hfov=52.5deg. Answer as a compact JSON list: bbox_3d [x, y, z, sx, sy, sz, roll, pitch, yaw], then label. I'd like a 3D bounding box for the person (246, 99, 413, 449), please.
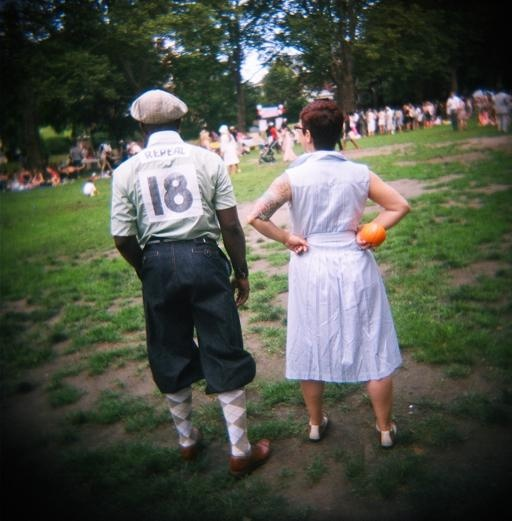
[{"bbox_3d":[0.472,0.078,3.168,0.744,2.118,0.619,-3,16,7],"label":"person"}]

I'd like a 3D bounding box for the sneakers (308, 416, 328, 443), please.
[{"bbox_3d":[0.387,1.056,3.259,0.061,0.086,0.188,-1,17,12],"label":"sneakers"}]

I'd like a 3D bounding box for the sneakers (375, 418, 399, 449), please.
[{"bbox_3d":[0.788,1.061,3.102,0.079,0.203,0.063,-9,27,-2],"label":"sneakers"}]

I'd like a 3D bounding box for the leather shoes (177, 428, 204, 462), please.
[{"bbox_3d":[-0.394,1.135,3.212,0.069,0.173,0.229,2,31,4],"label":"leather shoes"}]

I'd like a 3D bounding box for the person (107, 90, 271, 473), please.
[{"bbox_3d":[-0.379,0.296,2.965,0.741,1.904,0.418,-7,10,-2],"label":"person"}]

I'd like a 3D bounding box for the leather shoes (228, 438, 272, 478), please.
[{"bbox_3d":[-0.026,1.161,3.075,0.099,0.138,0.296,9,16,28],"label":"leather shoes"}]
